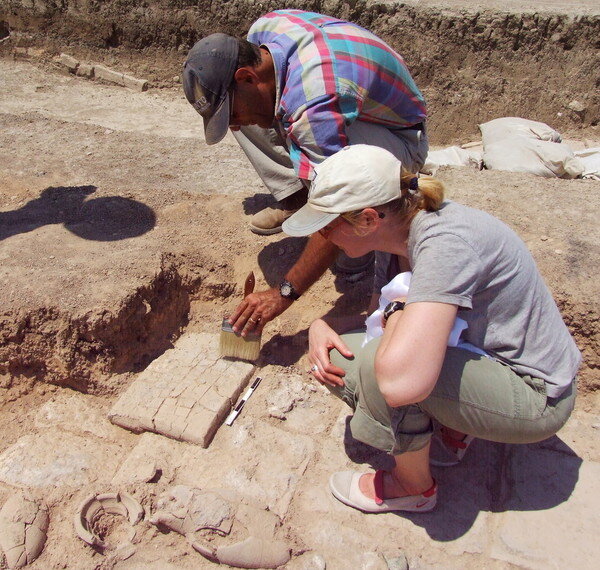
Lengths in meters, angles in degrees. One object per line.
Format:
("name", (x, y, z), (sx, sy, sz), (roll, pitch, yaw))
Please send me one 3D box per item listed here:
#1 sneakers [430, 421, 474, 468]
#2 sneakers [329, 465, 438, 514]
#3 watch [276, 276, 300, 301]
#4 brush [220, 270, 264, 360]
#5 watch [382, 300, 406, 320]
("sneakers", (0.658, 0.664, 2.581), (0.113, 0.186, 0.147), (-14, 73, -15))
("sneakers", (0.338, 0.859, 2.469), (0.452, 0.121, 0.194), (5, 0, 10))
("watch", (-0.050, 0.021, 2.830), (0.101, 0.066, 0.100), (52, 3, 10))
("brush", (-0.263, 0.142, 2.899), (0.217, 0.428, 0.067), (11, 14, 16))
("watch", (0.356, 0.088, 2.211), (0.078, 0.029, 0.062), (-42, 18, -26))
